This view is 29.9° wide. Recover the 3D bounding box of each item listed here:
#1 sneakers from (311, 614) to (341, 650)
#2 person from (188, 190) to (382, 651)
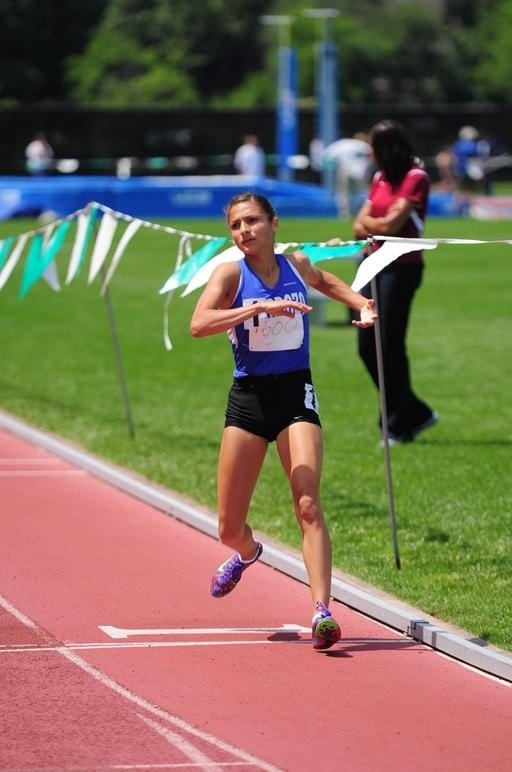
[{"bbox_3d":[0.225,0.820,3.212,0.076,0.141,0.068,10,42,-11],"label":"sneakers"},{"bbox_3d":[0.098,0.115,3.458,0.624,1.604,0.811,2,8,6],"label":"person"}]
